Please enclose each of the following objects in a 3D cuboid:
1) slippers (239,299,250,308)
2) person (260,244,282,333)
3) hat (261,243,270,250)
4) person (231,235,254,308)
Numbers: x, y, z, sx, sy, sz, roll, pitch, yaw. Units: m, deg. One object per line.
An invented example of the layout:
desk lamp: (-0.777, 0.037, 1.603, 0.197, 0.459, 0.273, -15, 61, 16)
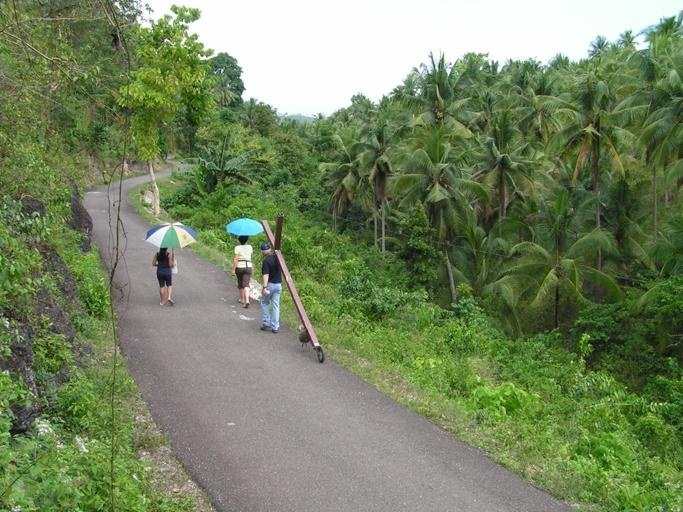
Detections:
slippers: (-2.718, 1.306, 18.256, 0.128, 0.190, 0.396, 6, 4, -26)
person: (-1.802, 0.819, 16.563, 0.537, 2.232, 0.895, 2, 7, -7)
hat: (-1.987, -0.263, 17.009, 0.239, 0.140, 0.354, 1, 14, -14)
person: (-2.779, 0.380, 18.266, 0.498, 1.991, 0.957, 2, 7, -10)
